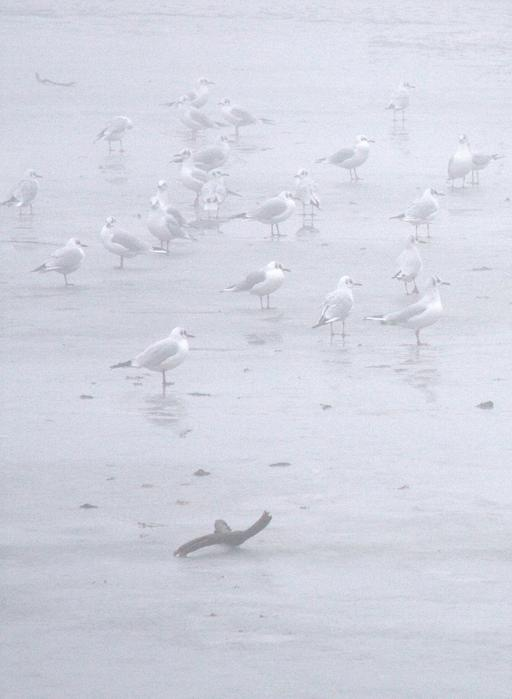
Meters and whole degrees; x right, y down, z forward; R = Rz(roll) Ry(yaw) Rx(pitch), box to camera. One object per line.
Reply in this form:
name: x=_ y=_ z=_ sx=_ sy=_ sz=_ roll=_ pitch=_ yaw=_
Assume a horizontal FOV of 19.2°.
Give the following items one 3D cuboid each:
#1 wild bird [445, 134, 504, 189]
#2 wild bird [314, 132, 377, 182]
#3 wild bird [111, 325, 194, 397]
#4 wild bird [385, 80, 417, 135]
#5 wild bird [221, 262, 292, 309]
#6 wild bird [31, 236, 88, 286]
wild bird: x=2.695 y=-2.467 z=20.096 sx=0.348 sy=0.697 sz=1.155 roll=6 pitch=22 yaw=28
wild bird: x=1.156 y=-2.559 z=20.870 sx=0.650 sy=0.497 sz=1.281 roll=-1 pitch=0 yaw=-1
wild bird: x=-1.036 y=0.084 z=13.302 sx=0.899 sy=0.665 sz=0.417 roll=-2 pitch=6 yaw=-7
wild bird: x=2.112 y=-3.664 z=22.990 sx=0.421 sy=0.689 sz=0.928 roll=-1 pitch=0 yaw=5
wild bird: x=0.029 y=-0.634 z=15.281 sx=0.774 sy=0.519 sz=0.349 roll=-1 pitch=2 yaw=21
wild bird: x=-2.173 y=-0.949 z=16.211 sx=0.731 sy=0.532 sz=0.331 roll=-5 pitch=10 yaw=-7
